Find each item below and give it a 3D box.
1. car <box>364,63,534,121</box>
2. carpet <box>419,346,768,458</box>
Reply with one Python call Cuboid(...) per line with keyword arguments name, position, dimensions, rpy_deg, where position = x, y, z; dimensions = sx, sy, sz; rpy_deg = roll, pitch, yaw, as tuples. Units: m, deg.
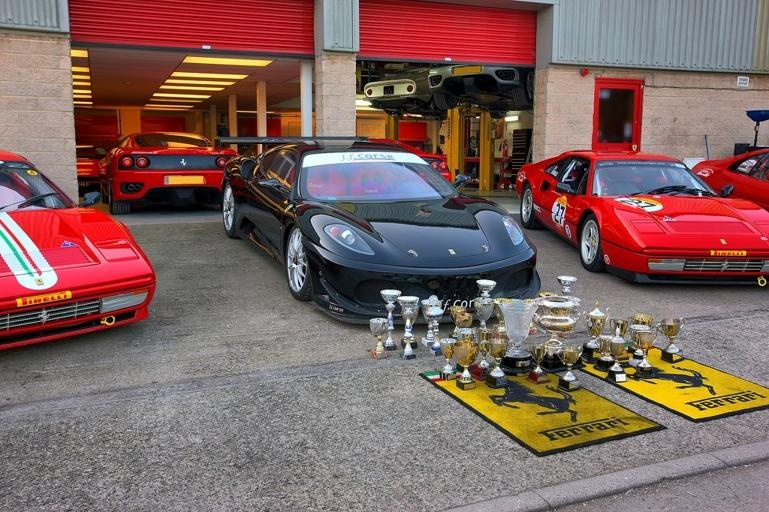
Cuboid(name="car", position=(2.733, -5.324, 13.806), dimensions=(4.458, 0.792, 2.381), rpy_deg=(-2, 7, -29))
Cuboid(name="carpet", position=(1.474, 0.898, 3.081), dimensions=(1.989, 0.062, 0.919), rpy_deg=(-4, 13, -17))
